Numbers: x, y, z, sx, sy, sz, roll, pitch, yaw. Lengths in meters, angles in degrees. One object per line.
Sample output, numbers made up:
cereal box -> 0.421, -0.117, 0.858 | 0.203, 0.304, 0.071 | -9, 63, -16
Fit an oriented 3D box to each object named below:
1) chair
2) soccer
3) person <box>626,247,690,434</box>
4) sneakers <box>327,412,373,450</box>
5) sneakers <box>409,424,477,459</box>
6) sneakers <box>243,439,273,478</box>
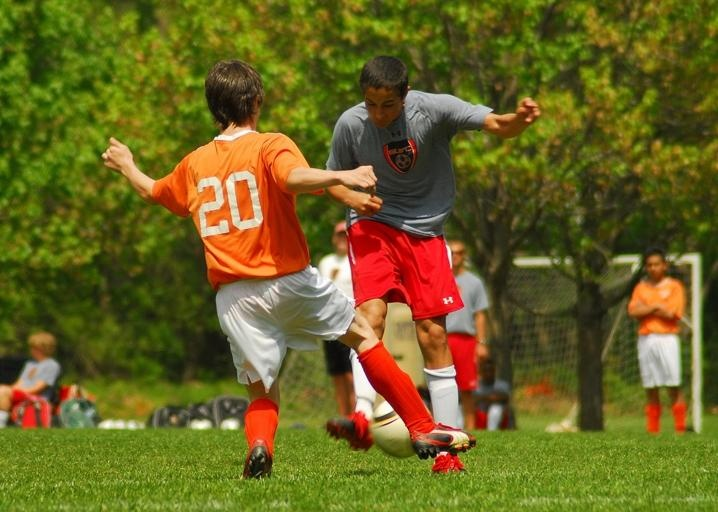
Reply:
chair -> -2.922, 1.454, 15.528 | 0.642, 0.299, 0.433 | -1, -5, -4
soccer -> 0.344, 1.374, 12.680 | 0.396, 0.481, 0.402 | -8, 3, 6
person -> 2.655, 0.765, 14.333 | 0.670, 1.613, 0.374 | 2, -6, -34
sneakers -> -0.053, 1.436, 13.097 | 0.406, 0.208, 0.234 | 20, 27, 3
sneakers -> 0.650, 1.432, 12.498 | 0.532, 0.285, 0.212 | -6, 2, -20
sneakers -> -0.766, 1.570, 12.225 | 0.129, 0.382, 0.167 | 8, 18, 7
